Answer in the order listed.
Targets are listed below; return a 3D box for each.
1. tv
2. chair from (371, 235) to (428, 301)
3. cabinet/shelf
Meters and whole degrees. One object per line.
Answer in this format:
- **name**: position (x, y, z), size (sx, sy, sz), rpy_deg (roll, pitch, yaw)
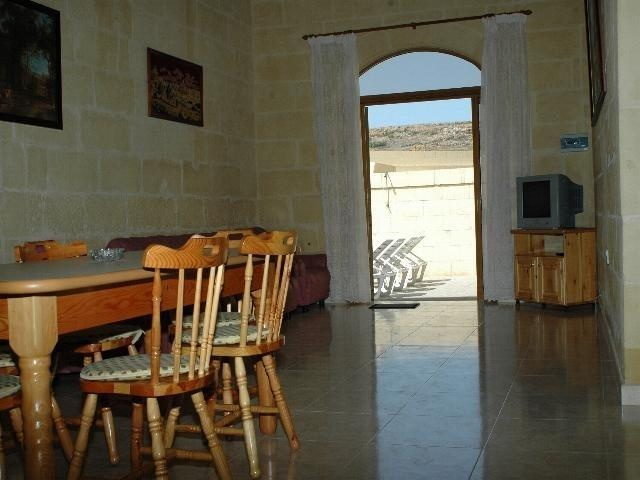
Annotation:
- **tv**: position (2.843, -0.429, 6.956), size (0.702, 0.693, 0.731), rpy_deg (-2, 0, -36)
- **chair**: position (1.480, 0.435, 10.041), size (0.945, 0.867, 2.663), rpy_deg (-2, 2, 9)
- **cabinet/shelf**: position (2.850, 0.384, 7.061), size (0.866, 1.268, 1.310), rpy_deg (2, -5, -37)
